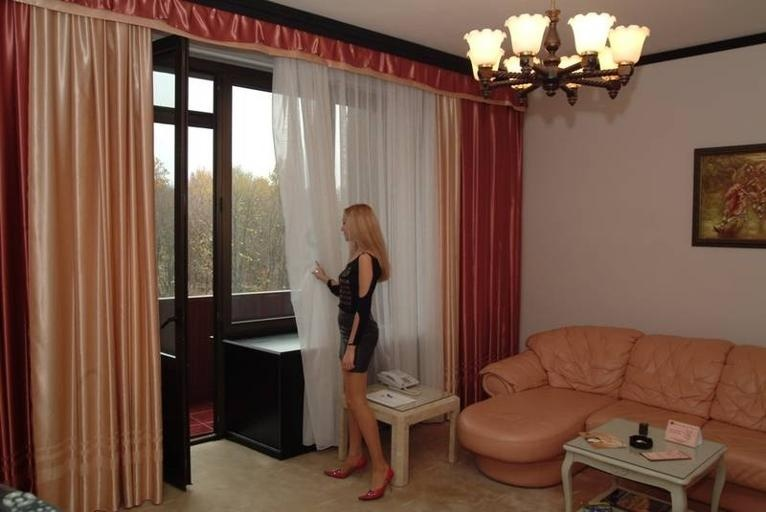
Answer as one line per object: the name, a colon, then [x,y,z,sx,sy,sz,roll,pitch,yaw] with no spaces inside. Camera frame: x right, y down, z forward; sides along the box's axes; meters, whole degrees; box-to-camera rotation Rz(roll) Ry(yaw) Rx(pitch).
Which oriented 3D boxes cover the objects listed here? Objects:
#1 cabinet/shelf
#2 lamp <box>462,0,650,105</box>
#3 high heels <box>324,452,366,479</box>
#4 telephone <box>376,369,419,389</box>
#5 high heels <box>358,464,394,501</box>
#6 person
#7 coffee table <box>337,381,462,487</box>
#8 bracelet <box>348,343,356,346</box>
cabinet/shelf: [-0.764,1.082,5.365,0.870,1.087,1.180,0,0,-40]
lamp: [1.262,-1.417,4.185,1.108,0.658,1.072,1,7,23]
high heels: [-0.291,1.738,4.878,0.414,0.187,0.139,1,-3,-8]
telephone: [0.124,1.087,5.233,0.176,0.074,0.222,-2,7,-39]
high heels: [-0.032,1.792,4.646,0.353,0.229,0.137,-3,-9,-30]
person: [-0.227,0.707,4.787,0.620,2.231,0.904,-3,8,-7]
coffee table: [0.161,1.363,4.996,0.792,0.591,0.773,-4,5,-39]
bracelet: [-0.243,0.688,4.635,0.048,0.031,0.012,-1,8,2]
